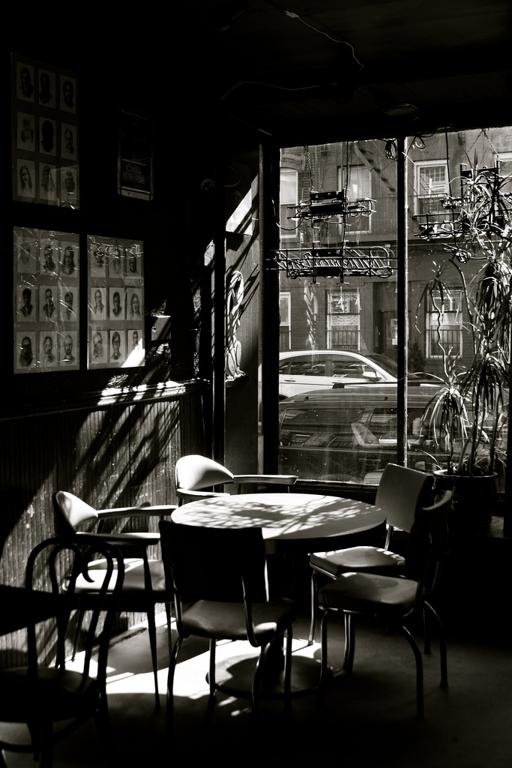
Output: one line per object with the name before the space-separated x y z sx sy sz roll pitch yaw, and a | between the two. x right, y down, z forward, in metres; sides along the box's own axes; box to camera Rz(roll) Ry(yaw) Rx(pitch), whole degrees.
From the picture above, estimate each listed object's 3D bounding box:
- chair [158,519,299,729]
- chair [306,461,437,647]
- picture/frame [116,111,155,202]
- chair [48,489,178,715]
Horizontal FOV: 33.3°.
chair | -0.103 0.830 3.044 0.456 0.741 0.389 1 3 6
chair | 0.499 0.762 3.713 0.356 0.883 0.381 9 -1 -21
picture/frame | -0.580 -1.076 4.033 0.035 0.520 0.344 1 3 16
chair | -0.568 0.905 3.511 0.409 0.971 0.673 -4 -3 -9
